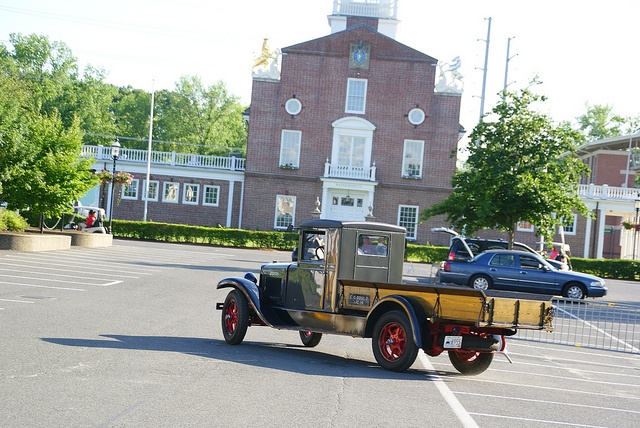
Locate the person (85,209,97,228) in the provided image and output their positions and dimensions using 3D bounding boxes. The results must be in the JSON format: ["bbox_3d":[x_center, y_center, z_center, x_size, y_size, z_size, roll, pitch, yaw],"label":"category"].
[{"bbox_3d":[-12.383,0.300,41.479,0.459,0.959,0.559,5,-1,-3],"label":"person"}]

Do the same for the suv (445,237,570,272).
[{"bbox_3d":[8.107,2.185,34.769,5.152,1.985,2.180,-2,3,-8],"label":"suv"}]

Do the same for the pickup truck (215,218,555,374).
[{"bbox_3d":[1.242,1.971,19.650,3.353,3.565,8.952,9,-6,-44],"label":"pickup truck"}]
